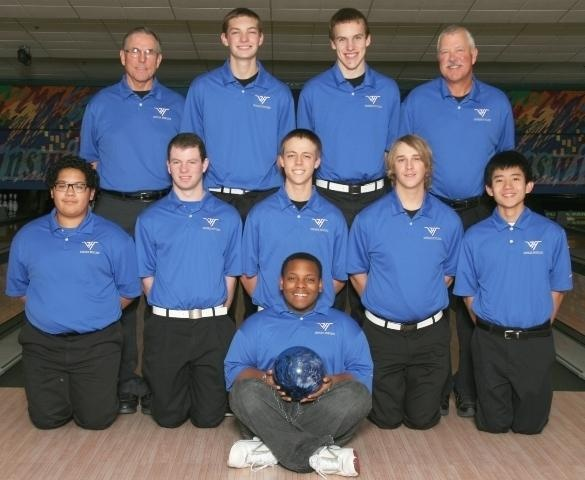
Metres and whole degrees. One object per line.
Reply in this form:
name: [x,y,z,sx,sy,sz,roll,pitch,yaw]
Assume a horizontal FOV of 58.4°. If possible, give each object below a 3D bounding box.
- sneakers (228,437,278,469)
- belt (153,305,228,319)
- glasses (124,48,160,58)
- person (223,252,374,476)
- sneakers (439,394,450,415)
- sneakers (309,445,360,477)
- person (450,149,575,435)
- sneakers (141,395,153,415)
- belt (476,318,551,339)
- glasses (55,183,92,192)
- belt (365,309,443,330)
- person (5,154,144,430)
sneakers: [-0.185,1.032,2.534,0.207,0.076,0.128,6,36,-35]
belt: [-0.592,0.416,3.021,0.418,0.068,0.079,-1,13,-8]
glasses: [-0.969,-1.200,3.356,0.191,0.060,0.047,-2,14,-11]
person: [0.042,0.603,2.704,0.685,0.998,0.664,13,19,40]
sneakers: [0.911,0.998,3.138,0.058,0.054,0.150,-1,-1,7]
sneakers: [0.196,1.046,2.461,0.224,0.110,0.072,1,-3,6]
person: [1.254,0.280,2.983,0.600,1.547,0.647,-1,15,-8]
sneakers: [-0.861,0.977,3.124,0.057,0.047,0.138,1,3,-8]
belt: [1.237,0.495,2.938,0.399,0.093,0.125,4,13,15]
glasses: [-1.236,-0.295,2.928,0.169,0.051,0.061,-3,14,-19]
belt: [0.643,0.462,3.028,0.436,0.100,0.134,2,13,8]
person: [-1.301,0.429,2.975,0.698,1.190,0.556,3,15,8]
